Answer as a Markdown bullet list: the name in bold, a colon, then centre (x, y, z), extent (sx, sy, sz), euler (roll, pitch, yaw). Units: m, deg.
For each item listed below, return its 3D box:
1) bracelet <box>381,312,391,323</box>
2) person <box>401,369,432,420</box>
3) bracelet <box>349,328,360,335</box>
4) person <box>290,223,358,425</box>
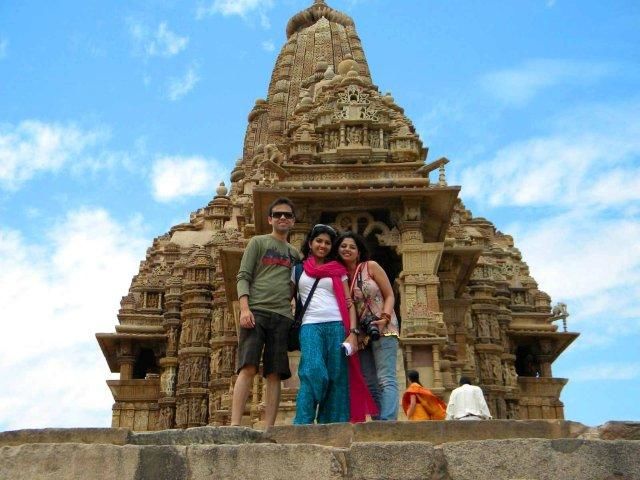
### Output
- **bracelet**: centre (0.528, 0.630, 5.206), extent (0.057, 0.074, 0.066), euler (3, -55, -46)
- **person**: centre (1.069, 1.750, 7.334), extent (0.285, 0.633, 0.441), euler (-3, -32, 5)
- **bracelet**: centre (0.270, 0.728, 5.146), extent (0.066, 0.035, 0.062), euler (1, -13, 11)
- **person**: centre (0.041, 0.680, 5.254), extent (0.496, 1.650, 0.611), euler (-11, -35, 17)
